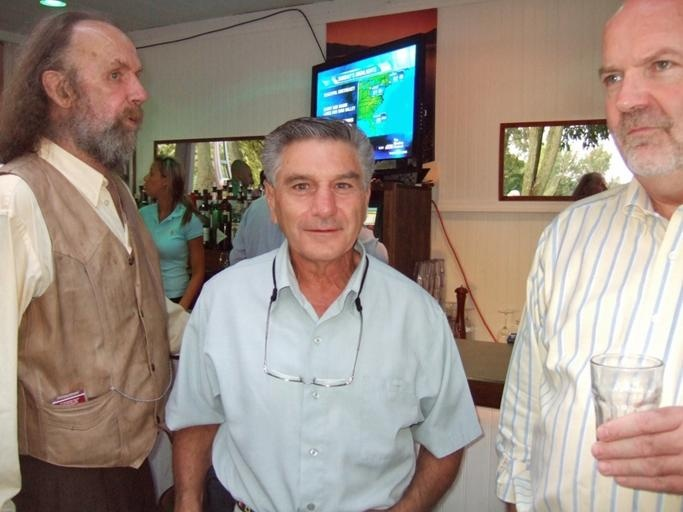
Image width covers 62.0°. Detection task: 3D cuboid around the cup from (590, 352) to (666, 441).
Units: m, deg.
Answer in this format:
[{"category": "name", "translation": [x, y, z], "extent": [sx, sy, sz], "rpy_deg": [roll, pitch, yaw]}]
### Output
[{"category": "cup", "translation": [0.685, 0.349, 1.404], "extent": [0.136, 0.221, 0.140], "rpy_deg": [-5, 14, 1]}]
